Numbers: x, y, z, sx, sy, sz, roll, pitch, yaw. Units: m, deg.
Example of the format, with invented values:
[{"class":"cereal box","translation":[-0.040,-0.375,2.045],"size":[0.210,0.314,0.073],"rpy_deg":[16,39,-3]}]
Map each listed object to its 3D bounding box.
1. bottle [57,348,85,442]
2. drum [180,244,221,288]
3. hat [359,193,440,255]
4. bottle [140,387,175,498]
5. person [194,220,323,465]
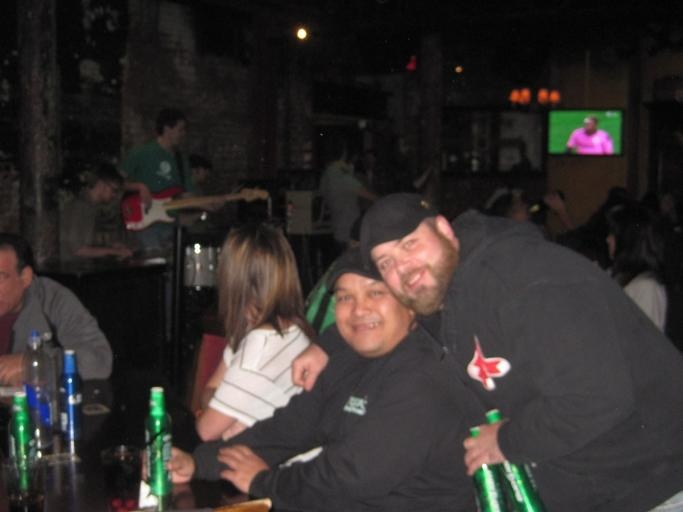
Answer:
[{"class":"bottle","translation":[-1.069,0.545,2.619],"size":[0.080,0.350,0.099],"rpy_deg":[1,-1,-22]},{"class":"drum","translation":[-1.062,0.091,5.099],"size":[0.303,0.338,0.305],"rpy_deg":[2,-4,-15]},{"class":"hat","translation":[0.228,-0.121,2.519],"size":[0.258,0.135,0.192],"rpy_deg":[-39,12,-38]},{"class":"bottle","translation":[-0.639,0.638,2.320],"size":[0.087,0.378,0.159],"rpy_deg":[1,-1,-16]},{"class":"person","translation":[-0.407,0.386,2.890],"size":[0.652,0.934,0.592],"rpy_deg":[1,11,-31]}]
